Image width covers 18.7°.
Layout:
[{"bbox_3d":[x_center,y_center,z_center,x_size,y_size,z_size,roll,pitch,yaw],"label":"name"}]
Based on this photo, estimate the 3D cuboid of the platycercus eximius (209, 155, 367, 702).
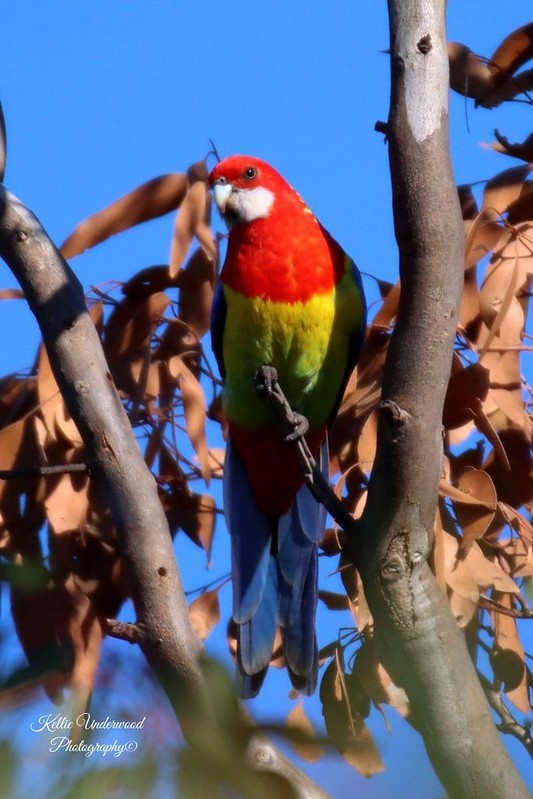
[{"bbox_3d":[0.018,0.147,4.076,0.312,1.446,0.531,1,23,3],"label":"platycercus eximius"}]
